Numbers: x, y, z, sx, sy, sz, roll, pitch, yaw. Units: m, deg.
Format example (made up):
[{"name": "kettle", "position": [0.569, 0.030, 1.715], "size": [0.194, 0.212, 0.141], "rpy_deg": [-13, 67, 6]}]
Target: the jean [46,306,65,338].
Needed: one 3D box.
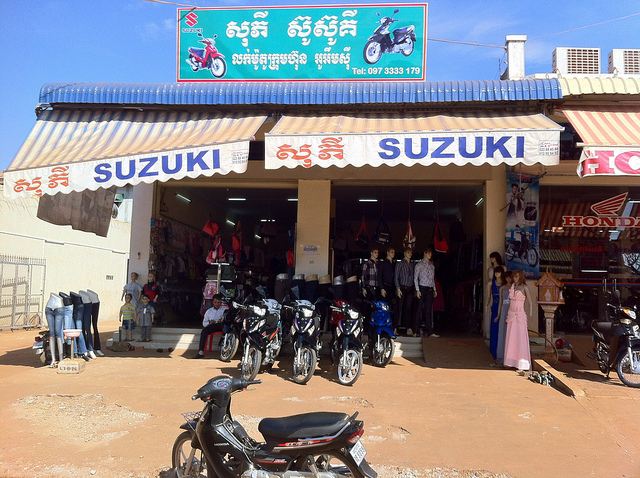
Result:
[{"name": "jean", "position": [-5.406, 1.687, 10.246], "size": [0.361, 0.635, 0.135], "rpy_deg": [1, -5, 6]}]

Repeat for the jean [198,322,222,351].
[{"name": "jean", "position": [-2.510, 2.196, 11.320], "size": [0.471, 0.742, 0.538], "rpy_deg": [-1, -13, 13]}]

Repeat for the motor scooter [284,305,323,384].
[{"name": "motor scooter", "position": [-0.287, 1.954, 9.418], "size": [0.557, 1.418, 0.592], "rpy_deg": [2, -5, -3]}]

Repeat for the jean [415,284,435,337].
[{"name": "jean", "position": [2.468, 1.703, 11.966], "size": [0.565, 1.193, 0.547], "rpy_deg": [4, -5, -22]}]

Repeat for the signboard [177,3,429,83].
[{"name": "signboard", "position": [-0.431, -4.554, 11.649], "size": [5.646, 1.835, 0.263], "rpy_deg": [2, -5, 4]}]

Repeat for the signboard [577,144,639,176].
[{"name": "signboard", "position": [5.018, -1.379, 8.750], "size": [1.027, 0.549, 0.116], "rpy_deg": [2, -5, 1]}]

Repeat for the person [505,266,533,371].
[{"name": "person", "position": [3.851, 1.569, 9.836], "size": [0.439, 1.901, 0.328], "rpy_deg": [0, -5, 22]}]

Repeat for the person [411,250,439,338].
[{"name": "person", "position": [2.521, 1.306, 11.921], "size": [0.594, 2.051, 0.743], "rpy_deg": [0, -5, 24]}]

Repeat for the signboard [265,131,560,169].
[{"name": "signboard", "position": [1.676, -1.625, 9.092], "size": [5.125, 0.766, 0.129], "rpy_deg": [2, -5, 4]}]

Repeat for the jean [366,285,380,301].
[{"name": "jean", "position": [1.263, 1.282, 12.022], "size": [0.321, 0.358, 0.952], "rpy_deg": [1, -6, 6]}]

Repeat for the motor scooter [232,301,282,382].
[{"name": "motor scooter", "position": [-1.172, 1.929, 9.649], "size": [0.786, 1.346, 1.241], "rpy_deg": [2, -5, -6]}]

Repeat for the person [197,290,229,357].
[{"name": "person", "position": [-2.572, 1.972, 12.108], "size": [0.645, 1.468, 2.713], "rpy_deg": [3, -6, -13]}]

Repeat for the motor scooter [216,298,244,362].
[{"name": "motor scooter", "position": [-1.937, 2.008, 10.884], "size": [0.612, 0.997, 1.381], "rpy_deg": [0, -7, 2]}]

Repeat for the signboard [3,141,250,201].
[{"name": "signboard", "position": [-3.616, -1.298, 9.393], "size": [4.569, 1.158, 0.219], "rpy_deg": [2, -5, 5]}]

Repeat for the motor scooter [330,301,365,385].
[{"name": "motor scooter", "position": [0.534, 1.974, 9.471], "size": [0.429, 1.136, 1.577], "rpy_deg": [1, -4, -2]}]

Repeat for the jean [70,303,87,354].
[{"name": "jean", "position": [-5.112, 1.902, 10.715], "size": [0.325, 1.121, 0.283], "rpy_deg": [-14, -20, 35]}]

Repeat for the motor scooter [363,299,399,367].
[{"name": "motor scooter", "position": [1.308, 2.036, 11.171], "size": [0.663, 1.411, 2.035], "rpy_deg": [6, -8, -1]}]

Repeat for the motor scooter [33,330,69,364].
[{"name": "motor scooter", "position": [-5.684, 2.244, 10.476], "size": [0.411, 0.567, 0.906], "rpy_deg": [-1, 0, 2]}]
